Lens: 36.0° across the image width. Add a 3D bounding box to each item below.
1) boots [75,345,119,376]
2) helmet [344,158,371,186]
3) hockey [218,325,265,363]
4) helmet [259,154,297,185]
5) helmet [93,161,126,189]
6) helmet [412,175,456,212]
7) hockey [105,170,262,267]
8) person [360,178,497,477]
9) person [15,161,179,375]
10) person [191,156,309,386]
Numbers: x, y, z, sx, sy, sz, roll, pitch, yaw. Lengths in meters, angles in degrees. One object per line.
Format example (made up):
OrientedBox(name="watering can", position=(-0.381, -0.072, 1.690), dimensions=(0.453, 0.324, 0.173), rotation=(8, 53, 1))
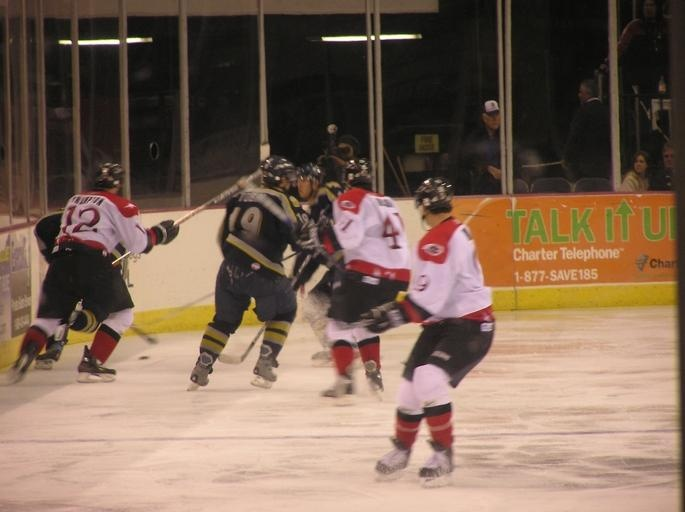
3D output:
OrientedBox(name="boots", position=(-1.913, 0.838, 8.242), dimensions=(0.354, 0.234, 0.114), rotation=(15, -7, -43))
OrientedBox(name="helmet", position=(0.113, -0.622, 7.837), dimensions=(0.229, 0.167, 0.157), rotation=(-2, 7, 20))
OrientedBox(name="hockey", position=(-0.897, 0.735, 8.512), dimensions=(0.420, 0.352, 0.093), rotation=(-3, 43, -36))
OrientedBox(name="helmet", position=(-0.481, -0.656, 8.007), dimensions=(0.274, 0.212, 0.194), rotation=(-17, 9, 0))
OrientedBox(name="helmet", position=(-1.829, -0.642, 8.412), dimensions=(0.243, 0.254, 0.279), rotation=(2, 8, -21))
OrientedBox(name="helmet", position=(0.563, -0.375, 6.601), dimensions=(0.200, 0.188, 0.236), rotation=(3, 8, -11))
OrientedBox(name="hockey", position=(-1.407, -0.303, 9.123), dimensions=(1.914, 0.205, 0.120), rotation=(-25, -17, -9))
OrientedBox(name="person", position=(0.469, 0.471, 6.410), dimensions=(0.775, 1.749, 0.578), rotation=(-14, 20, -37))
OrientedBox(name="person", position=(-1.958, 0.242, 8.149), dimensions=(1.071, 1.446, 0.515), rotation=(-4, 16, -9))
OrientedBox(name="person", position=(-0.719, 0.166, 7.886), dimensions=(0.986, 1.745, 0.472), rotation=(-7, 17, -20))
